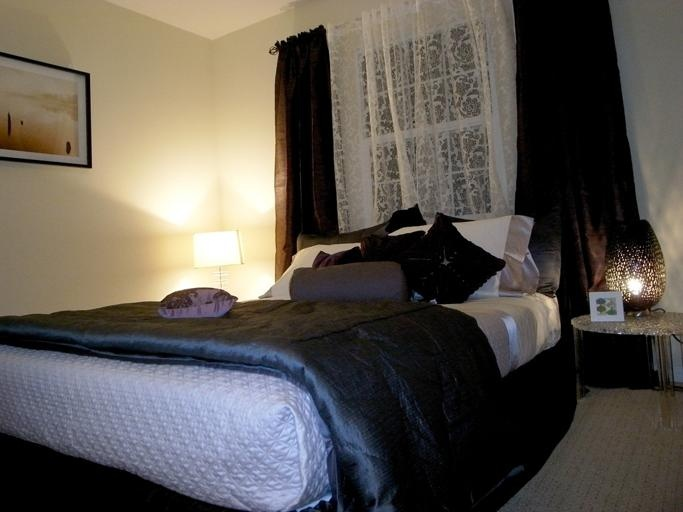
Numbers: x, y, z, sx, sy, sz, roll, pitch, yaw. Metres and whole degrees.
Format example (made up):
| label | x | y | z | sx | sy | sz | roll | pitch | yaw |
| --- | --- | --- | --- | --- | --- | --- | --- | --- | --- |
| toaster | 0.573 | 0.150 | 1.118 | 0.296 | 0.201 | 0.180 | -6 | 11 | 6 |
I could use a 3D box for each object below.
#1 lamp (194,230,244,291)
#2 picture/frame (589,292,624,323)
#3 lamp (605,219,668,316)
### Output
| label | x | y | z | sx | sy | sz | roll | pitch | yaw |
| --- | --- | --- | --- | --- | --- | --- | --- | --- | --- |
| lamp | -1.028 | -0.070 | 4.234 | 0.396 | 0.286 | 0.238 | 1 | 14 | -18 |
| picture/frame | 1.395 | 0.270 | 2.687 | 0.145 | 0.158 | 0.010 | -3 | -17 | 17 |
| lamp | 1.625 | 0.058 | 2.823 | 0.307 | 0.502 | 0.160 | 12 | 15 | 28 |
